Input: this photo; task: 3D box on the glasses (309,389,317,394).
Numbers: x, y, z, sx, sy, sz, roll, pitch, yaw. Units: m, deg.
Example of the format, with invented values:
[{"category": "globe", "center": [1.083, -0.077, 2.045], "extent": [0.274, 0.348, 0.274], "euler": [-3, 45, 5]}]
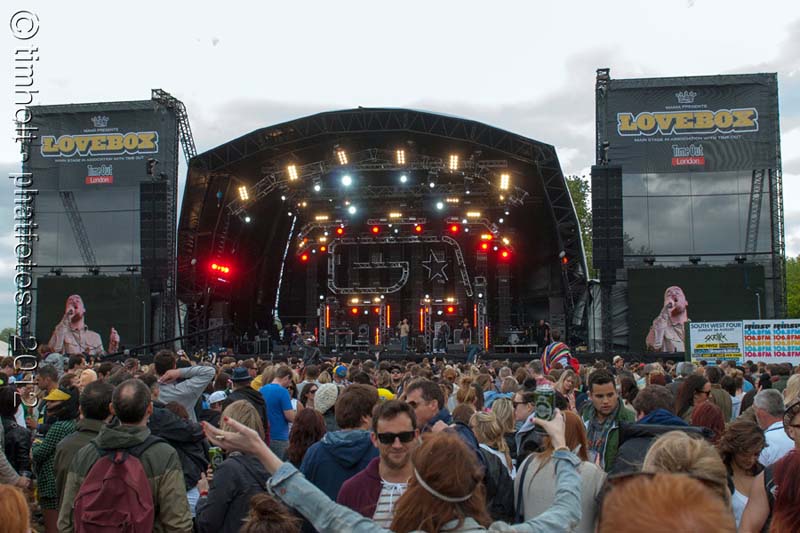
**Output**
[{"category": "glasses", "center": [-1.557, 2.222, 15.980], "extent": [0.138, 0.039, 0.127], "euler": [0, -6, -4]}]

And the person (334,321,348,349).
[{"category": "person", "center": [-2.533, 3.065, 39.651], "extent": [0.891, 1.059, 0.850], "euler": [0, -10, 3]}]

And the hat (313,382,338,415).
[{"category": "hat", "center": [-1.231, 2.249, 15.268], "extent": [0.440, 0.486, 0.529], "euler": [-5, -5, 7]}]

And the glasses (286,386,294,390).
[{"category": "glasses", "center": [-2.127, 2.337, 17.181], "extent": [0.192, 0.064, 0.189], "euler": [1, -18, -5]}]

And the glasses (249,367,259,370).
[{"category": "glasses", "center": [-3.209, 2.242, 19.497], "extent": [0.145, 0.040, 0.133], "euler": [-3, -7, 2]}]

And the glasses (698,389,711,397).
[{"category": "glasses", "center": [5.060, 2.111, 14.905], "extent": [0.149, 0.044, 0.145], "euler": [27, -20, -32]}]

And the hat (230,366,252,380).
[{"category": "hat", "center": [-2.918, 1.971, 16.447], "extent": [0.485, 0.210, 0.565], "euler": [1, -4, -8]}]

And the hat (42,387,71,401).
[{"category": "hat", "center": [-5.659, 2.105, 14.767], "extent": [0.348, 0.116, 0.246], "euler": [1, -5, 11]}]
